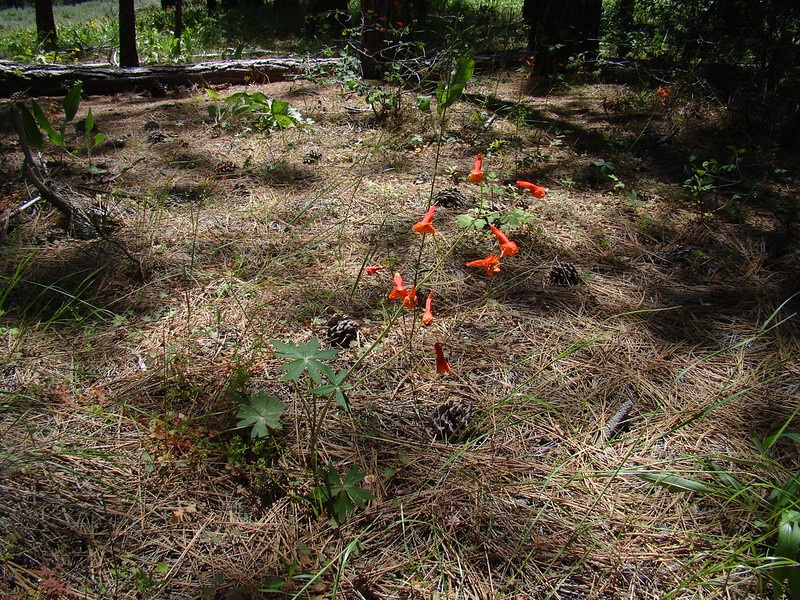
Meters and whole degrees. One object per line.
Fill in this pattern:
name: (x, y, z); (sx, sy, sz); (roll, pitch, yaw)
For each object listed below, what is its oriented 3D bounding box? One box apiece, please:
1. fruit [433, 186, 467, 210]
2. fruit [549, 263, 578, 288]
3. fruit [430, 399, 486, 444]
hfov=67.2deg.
fruit: (0.415, -0.815, 4.805); (0.298, 0.082, 0.243); (6, 20, 13)
fruit: (1.113, -0.164, 4.137); (0.219, 0.075, 0.156); (-11, 56, -1)
fruit: (0.309, 0.682, 3.244); (0.297, 0.133, 0.234); (-12, 27, 0)
